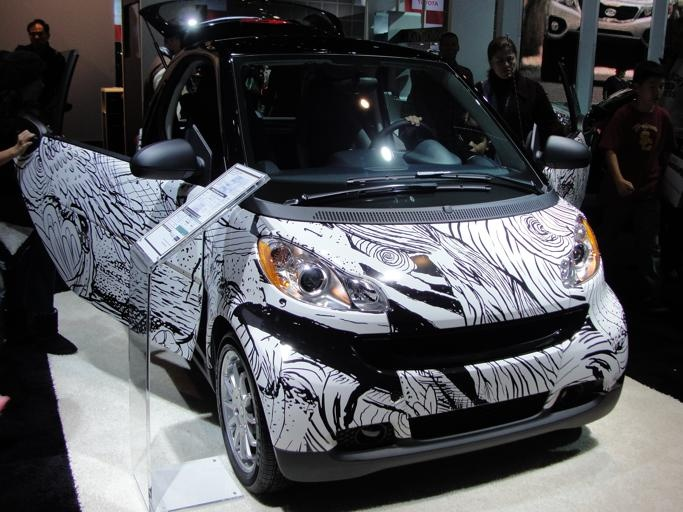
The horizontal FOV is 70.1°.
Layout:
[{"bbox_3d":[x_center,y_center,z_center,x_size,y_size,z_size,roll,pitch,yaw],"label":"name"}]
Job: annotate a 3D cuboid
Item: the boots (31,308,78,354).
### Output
[{"bbox_3d":[-2.095,0.563,3.530,0.173,0.318,0.444,-3,-6,22],"label":"boots"}]
